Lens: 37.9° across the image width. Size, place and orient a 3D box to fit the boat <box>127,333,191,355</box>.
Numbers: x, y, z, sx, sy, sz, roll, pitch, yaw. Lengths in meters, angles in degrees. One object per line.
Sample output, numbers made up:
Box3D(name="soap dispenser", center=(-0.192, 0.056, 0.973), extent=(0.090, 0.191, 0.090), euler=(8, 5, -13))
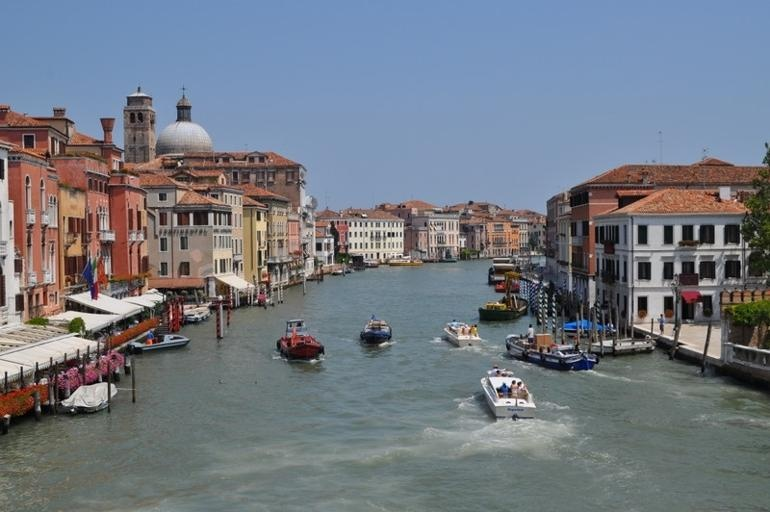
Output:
Box3D(name="boat", center=(-19.530, 7.759, 96.766), extent=(5.162, 1.340, 1.767), euler=(-3, 3, -24))

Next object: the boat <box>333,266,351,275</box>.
Box3D(name="boat", center=(-8.288, 2.898, 210.733), extent=(1.129, 0.956, 5.122), euler=(2, 5, 9))

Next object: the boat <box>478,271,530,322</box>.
Box3D(name="boat", center=(12.384, 5.368, 118.125), extent=(3.609, 3.365, 9.186), euler=(2, 5, 16))

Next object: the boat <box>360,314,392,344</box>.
Box3D(name="boat", center=(-0.852, 6.869, 103.417), extent=(2.607, 2.006, 6.777), euler=(0, 0, 2))

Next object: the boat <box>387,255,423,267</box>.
Box3D(name="boat", center=(4.379, 1.467, 248.321), extent=(6.435, 2.030, 3.060), euler=(-2, 4, -1))

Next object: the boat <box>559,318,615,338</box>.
Box3D(name="boat", center=(17.402, 6.380, 96.714), extent=(5.541, 1.750, 1.729), euler=(2, 4, 20))

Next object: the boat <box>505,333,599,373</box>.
Box3D(name="boat", center=(13.168, 7.682, 90.451), extent=(4.075, 2.171, 10.121), euler=(-2, 5, -26))

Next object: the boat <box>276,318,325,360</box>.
Box3D(name="boat", center=(-7.366, 7.155, 96.913), extent=(4.032, 2.916, 10.527), euler=(-1, 1, -6))

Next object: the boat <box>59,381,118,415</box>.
Box3D(name="boat", center=(-20.180, 9.857, 77.457), extent=(1.776, 0.810, 2.911), euler=(3, 9, 10))
